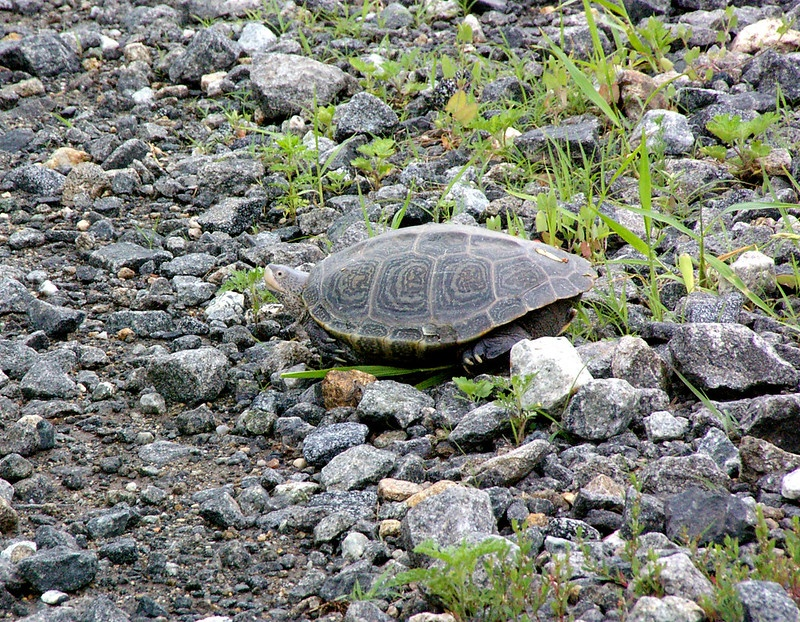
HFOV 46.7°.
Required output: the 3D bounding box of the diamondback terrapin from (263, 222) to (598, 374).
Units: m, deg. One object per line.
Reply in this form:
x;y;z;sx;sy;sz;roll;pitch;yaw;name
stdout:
0.196;-0.138;6.768;2.440;0.915;1.694;-1;12;18;diamondback terrapin
